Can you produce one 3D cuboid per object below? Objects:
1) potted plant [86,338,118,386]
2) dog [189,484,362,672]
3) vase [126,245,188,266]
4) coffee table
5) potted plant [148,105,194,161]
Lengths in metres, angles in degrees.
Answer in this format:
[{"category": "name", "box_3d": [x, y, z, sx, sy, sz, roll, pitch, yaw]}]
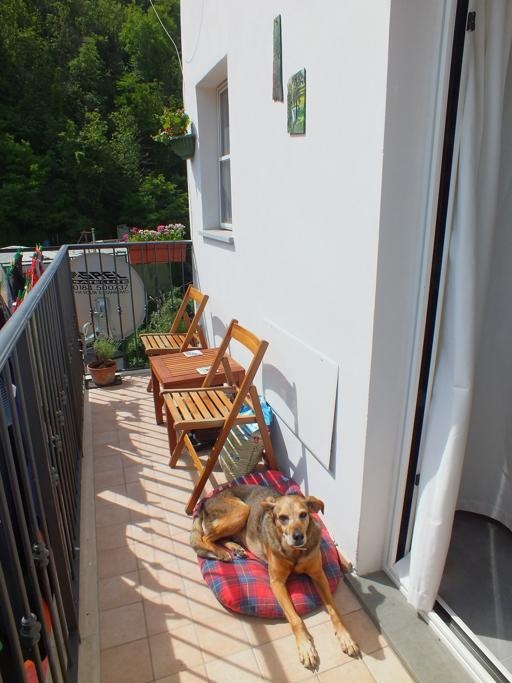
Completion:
[{"category": "potted plant", "box_3d": [-1.715, 0.209, 4.585, 0.302, 0.460, 0.596, -5, 11, -21]}, {"category": "dog", "box_3d": [0.048, 0.858, 1.901, 0.385, 0.429, 0.797, -2, 15, -21]}, {"category": "vase", "box_3d": [-1.239, -1.106, 5.150, 0.743, 0.252, 0.553, 5, 13, 30]}, {"category": "coffee table", "box_3d": [-0.504, 0.401, 3.373, 0.640, 0.833, 0.760, -9, 31, -17]}, {"category": "potted plant", "box_3d": [-0.894, -2.336, 4.544, 0.365, 0.605, 0.605, -4, 10, -17]}]
